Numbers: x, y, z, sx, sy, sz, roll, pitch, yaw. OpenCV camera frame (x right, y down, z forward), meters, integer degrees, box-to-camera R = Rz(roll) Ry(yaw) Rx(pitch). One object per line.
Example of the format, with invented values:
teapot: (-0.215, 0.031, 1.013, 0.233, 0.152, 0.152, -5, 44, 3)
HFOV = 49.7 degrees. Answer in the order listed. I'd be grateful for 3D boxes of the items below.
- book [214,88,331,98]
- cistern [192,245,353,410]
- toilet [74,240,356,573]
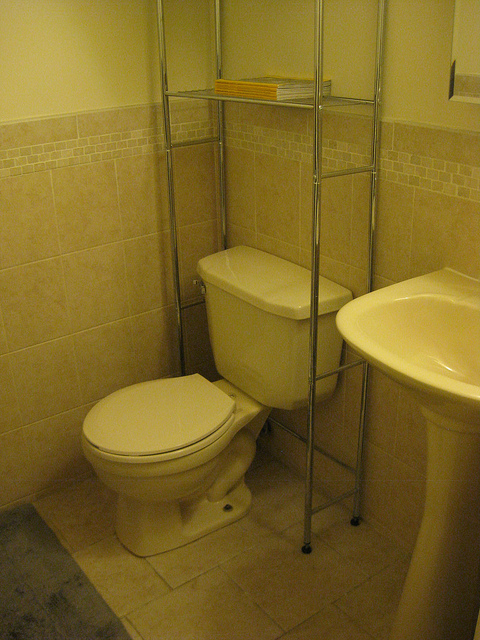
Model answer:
book: (0.036, -0.487, 1.115, 0.075, 0.018, 0.286, -17, 29, -31)
cistern: (0.061, 0.031, 1.415, 0.230, 0.305, 0.418, -13, 24, -33)
toilet: (-0.084, 0.224, 1.354, 0.673, 0.631, 0.453, -17, 28, -41)
